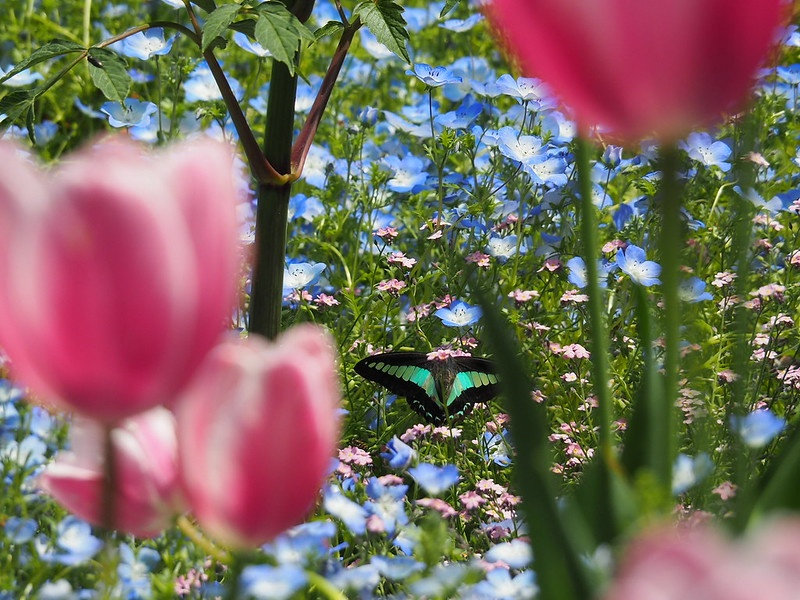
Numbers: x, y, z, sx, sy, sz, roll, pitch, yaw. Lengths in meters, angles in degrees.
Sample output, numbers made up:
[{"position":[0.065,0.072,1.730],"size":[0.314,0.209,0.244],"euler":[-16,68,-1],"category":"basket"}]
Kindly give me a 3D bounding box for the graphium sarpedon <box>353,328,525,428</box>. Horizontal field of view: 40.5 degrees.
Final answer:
[{"position":[0.052,0.152,2.025],"size":[0.242,0.146,0.124],"euler":[7,-33,-13],"category":"graphium sarpedon"}]
